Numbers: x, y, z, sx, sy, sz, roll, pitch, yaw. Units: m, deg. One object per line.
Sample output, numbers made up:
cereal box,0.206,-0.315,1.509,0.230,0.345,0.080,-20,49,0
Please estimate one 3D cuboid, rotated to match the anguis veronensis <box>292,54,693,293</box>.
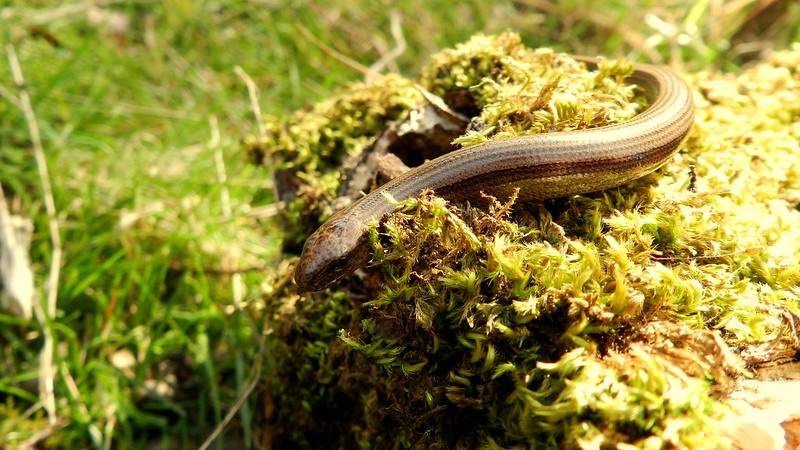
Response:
anguis veronensis,0.935,-0.407,5.413,3.060,0.424,1.477,-18,16,-35
